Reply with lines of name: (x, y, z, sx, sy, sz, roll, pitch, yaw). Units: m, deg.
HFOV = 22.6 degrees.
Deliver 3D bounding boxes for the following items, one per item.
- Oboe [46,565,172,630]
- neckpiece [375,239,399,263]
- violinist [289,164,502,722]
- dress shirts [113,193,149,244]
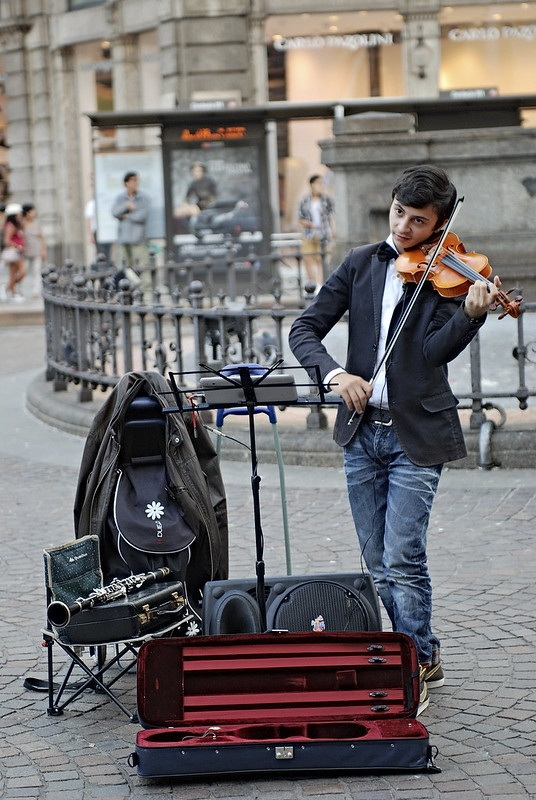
Oboe: (-0.546, 0.673, 4.693, 0.127, 0.116, 0.595, 0, 4, 28)
neckpiece: (0.401, -0.508, 4.509, 0.072, 0.068, 0.028, 1, 0, 38)
violinist: (0.441, 0.182, 4.550, 0.707, 1.844, 0.681, 0, 2, 7)
dress shirts: (-1.879, -2.524, 18.540, 0.501, 0.699, 0.359, -4, 9, -6)
